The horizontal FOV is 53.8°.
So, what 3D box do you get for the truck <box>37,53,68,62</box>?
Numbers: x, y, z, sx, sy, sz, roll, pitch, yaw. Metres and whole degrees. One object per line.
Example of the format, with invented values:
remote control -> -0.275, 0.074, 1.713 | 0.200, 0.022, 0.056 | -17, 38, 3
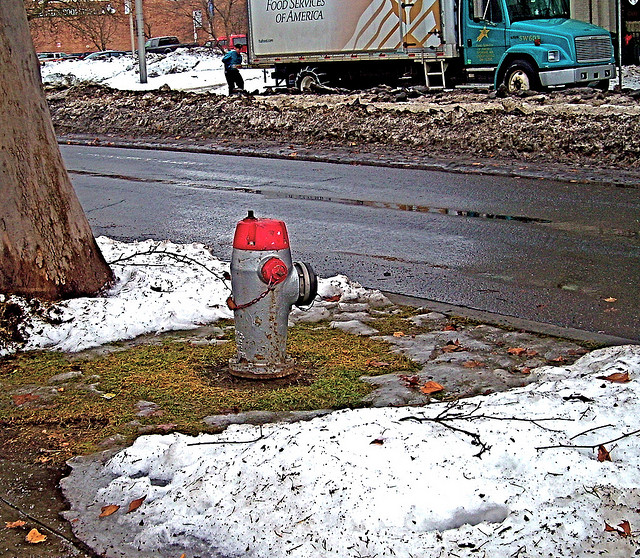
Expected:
truck -> -29.296, -24.415, 69.050 | 2.644, 1.091, 5.633 | -8, 16, -14
